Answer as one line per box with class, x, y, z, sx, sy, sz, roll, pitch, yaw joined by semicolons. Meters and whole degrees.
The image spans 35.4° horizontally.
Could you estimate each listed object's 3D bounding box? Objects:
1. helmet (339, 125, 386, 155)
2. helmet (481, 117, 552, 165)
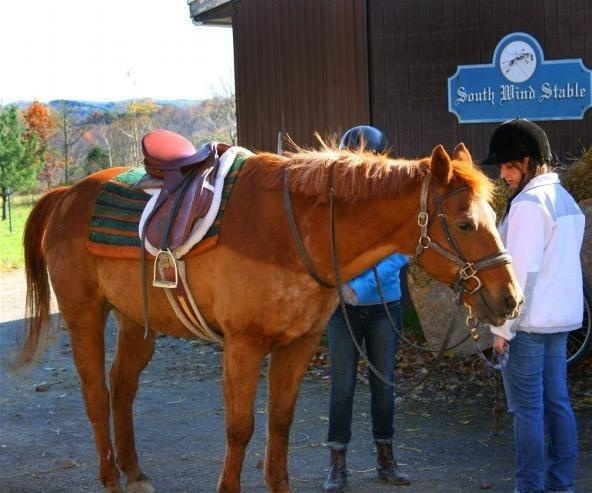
helmet;0.486;-0.792;6.801;0.273;0.159;0.243;2;6;18
helmet;1.568;-0.751;6.663;0.560;0.339;0.419;-6;1;-11
